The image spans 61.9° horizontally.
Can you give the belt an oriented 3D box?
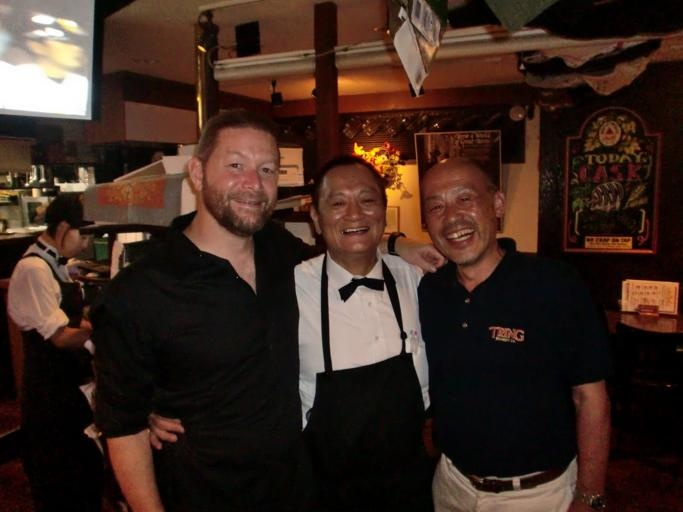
[{"bbox_3d":[1.092,1.403,3.571,0.616,0.159,0.070,-1,4,6],"label":"belt"}]
